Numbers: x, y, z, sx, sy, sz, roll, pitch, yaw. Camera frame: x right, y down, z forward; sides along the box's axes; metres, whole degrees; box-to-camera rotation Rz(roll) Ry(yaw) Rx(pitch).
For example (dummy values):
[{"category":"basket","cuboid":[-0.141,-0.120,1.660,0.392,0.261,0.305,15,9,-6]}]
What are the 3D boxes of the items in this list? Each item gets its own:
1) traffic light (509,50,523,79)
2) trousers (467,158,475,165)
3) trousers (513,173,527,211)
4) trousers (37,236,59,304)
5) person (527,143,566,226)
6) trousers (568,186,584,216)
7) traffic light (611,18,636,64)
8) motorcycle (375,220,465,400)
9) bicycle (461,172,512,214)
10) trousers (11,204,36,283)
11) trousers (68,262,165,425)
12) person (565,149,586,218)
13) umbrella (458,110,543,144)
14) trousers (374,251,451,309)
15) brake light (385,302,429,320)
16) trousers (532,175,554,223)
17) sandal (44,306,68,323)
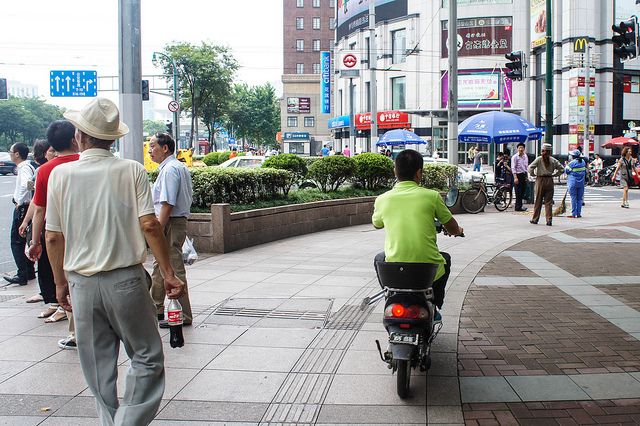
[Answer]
[{"category":"traffic light","cuboid":[7.334,-5.521,22.859,0.510,1.009,0.726,-1,14,0]},{"category":"trousers","cuboid":[9.774,-3.349,39.536,0.457,0.554,0.399,2,8,1]},{"category":"trousers","cuboid":[6.290,-0.690,19.127,0.637,1.213,0.290,-10,17,-32]},{"category":"trousers","cuboid":[-3.881,0.872,8.650,0.180,0.967,0.520,-8,16,-28]},{"category":"person","cuboid":[5.889,-0.719,16.008,0.837,2.144,0.894,8,16,29]},{"category":"trousers","cuboid":[7.402,-0.463,17.507,0.360,1.378,0.307,-1,-30,28]},{"category":"traffic light","cuboid":[7.473,-4.224,14.923,0.559,0.952,2.073,6,16,24]},{"category":"motorcycle","cuboid":[1.117,1.127,6.641,0.730,0.935,1.401,0,6,11]},{"category":"bicycle","cuboid":[5.462,-0.609,19.416,0.790,1.149,1.765,17,-12,-40]},{"category":"trousers","cuboid":[-4.819,0.501,9.899,0.313,1.393,0.687,-8,16,-28]},{"category":"trousers","cuboid":[-1.992,1.318,6.026,0.714,1.715,1.077,-14,19,-42]},{"category":"person","cuboid":[7.290,-0.842,17.371,0.509,1.971,0.800,6,15,25]},{"category":"umbrella","cuboid":[6.658,-3.041,21.910,2.132,0.747,2.162,-6,8,-36]},{"category":"trousers","cuboid":[1.245,0.786,7.220,0.566,0.568,0.890,0,3,10]},{"category":"brake light","cuboid":[0.951,1.066,6.641,0.454,0.162,0.073,1,14,6]},{"category":"trousers","cuboid":[5.859,-0.371,15.938,0.468,1.251,0.510,4,15,19]},{"category":"sandal","cuboid":[-3.666,1.391,8.464,0.296,0.157,0.230,-8,16,-26]}]
